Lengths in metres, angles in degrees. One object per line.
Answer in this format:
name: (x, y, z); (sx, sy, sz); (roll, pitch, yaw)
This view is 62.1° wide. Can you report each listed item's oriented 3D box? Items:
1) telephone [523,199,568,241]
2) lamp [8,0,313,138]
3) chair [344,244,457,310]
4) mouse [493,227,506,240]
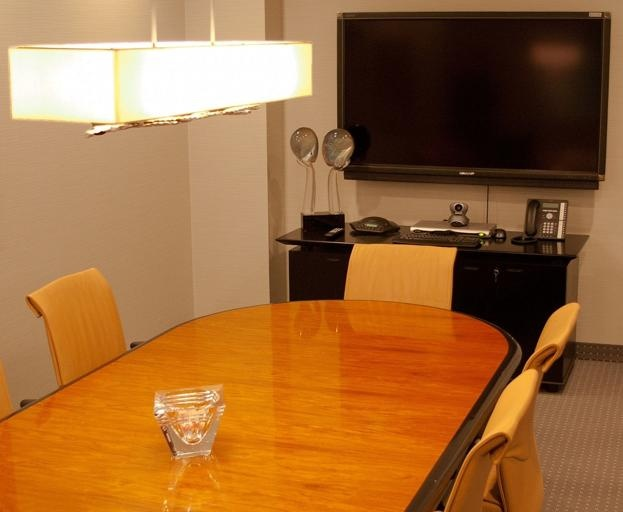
telephone: (1.802, -0.283, 3.979); (0.264, 0.351, 0.133); (4, -6, 20)
lamp: (-0.280, -0.433, 1.234); (0.253, 0.270, 0.758); (6, 12, 35)
chair: (0.516, 0.110, 2.973); (0.536, 0.402, 0.547); (6, 10, 14)
mouse: (1.484, -0.179, 4.083); (0.098, 0.102, 0.077); (3, 14, 23)
